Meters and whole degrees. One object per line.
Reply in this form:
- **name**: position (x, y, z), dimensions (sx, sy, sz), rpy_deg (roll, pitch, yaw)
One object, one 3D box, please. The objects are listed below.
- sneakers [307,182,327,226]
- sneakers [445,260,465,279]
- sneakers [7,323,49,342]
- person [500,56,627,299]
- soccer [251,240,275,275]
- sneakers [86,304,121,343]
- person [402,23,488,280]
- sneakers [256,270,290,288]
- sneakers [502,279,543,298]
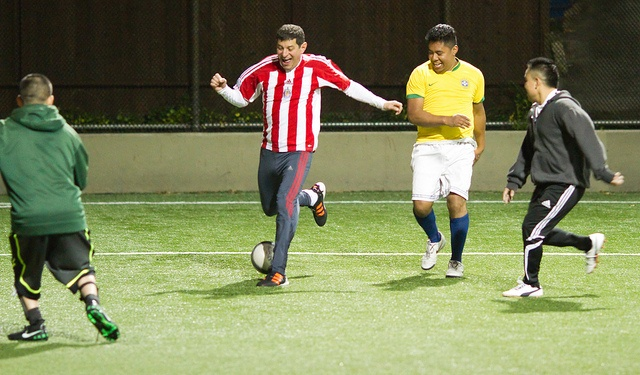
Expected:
- **sneakers**: position (-0.063, 0.284, 11.348), dimensions (0.201, 0.632, 0.265), rpy_deg (5, 24, 27)
- **sneakers**: position (1.708, 1.016, 10.076), dimensions (0.219, 0.204, 0.227), rpy_deg (1, 13, 9)
- **sneakers**: position (-3.084, 1.532, 8.434), dimensions (0.437, 0.200, 0.162), rpy_deg (2, -4, 4)
- **person**: position (2.722, -0.081, 9.213), dimensions (1.144, 2.714, 0.640), rpy_deg (2, 12, 13)
- **soccer**: position (-0.661, 0.883, 10.036), dimensions (0.374, 0.469, 0.392), rpy_deg (-1, -9, 18)
- **sneakers**: position (-2.182, 1.379, 8.259), dimensions (0.184, 0.506, 0.213), rpy_deg (-42, 7, -6)
- **person**: position (1.621, -0.453, 10.133), dimensions (1.011, 3.113, 0.921), rpy_deg (-3, 12, -10)
- **sneakers**: position (-0.573, 1.120, 9.712), dimensions (0.314, 0.142, 0.171), rpy_deg (4, -6, -22)
- **sneakers**: position (2.379, 1.197, 9.404), dimensions (0.501, 0.228, 0.177), rpy_deg (2, -6, -1)
